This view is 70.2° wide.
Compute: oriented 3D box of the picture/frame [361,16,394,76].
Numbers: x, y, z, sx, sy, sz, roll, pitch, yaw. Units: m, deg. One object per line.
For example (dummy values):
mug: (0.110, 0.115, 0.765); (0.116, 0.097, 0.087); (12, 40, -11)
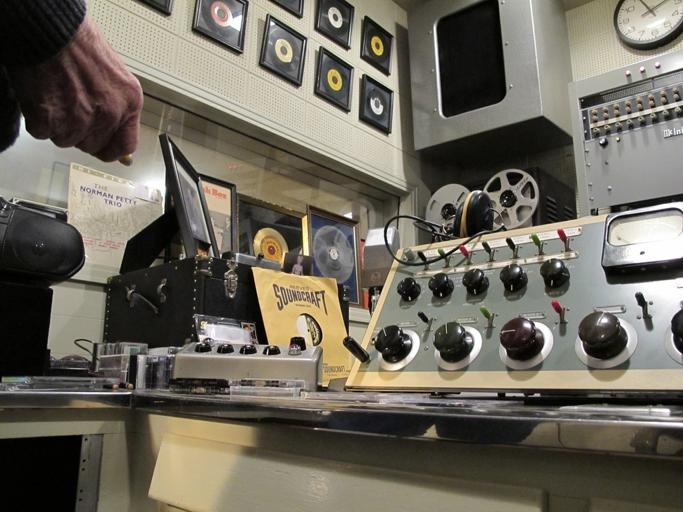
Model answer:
picture/frame: (0.279, -1.622, 3.740); (0.317, 0.371, 0.030); (19, -21, -38)

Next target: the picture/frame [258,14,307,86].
picture/frame: (-0.374, -1.270, 3.003); (0.026, 0.462, 0.402); (-12, -23, 39)

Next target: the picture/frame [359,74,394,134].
picture/frame: (0.252, -1.122, 3.613); (0.051, 0.447, 0.385); (-13, -20, 40)

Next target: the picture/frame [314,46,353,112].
picture/frame: (-0.037, -1.206, 3.331); (0.322, 0.380, 0.028); (17, -18, -35)

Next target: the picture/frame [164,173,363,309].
picture/frame: (-0.302, -0.048, 2.958); (0.281, 0.654, 1.244); (-5, -10, 36)
